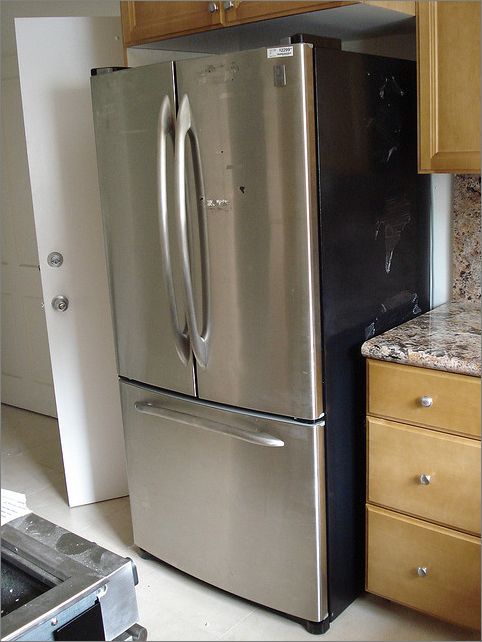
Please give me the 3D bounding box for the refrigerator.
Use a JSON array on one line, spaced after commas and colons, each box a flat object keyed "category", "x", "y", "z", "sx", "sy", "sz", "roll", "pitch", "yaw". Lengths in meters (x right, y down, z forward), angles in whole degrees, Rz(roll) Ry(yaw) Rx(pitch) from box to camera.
[{"category": "refrigerator", "x": 0.006, "y": 0.067, "z": 1.780, "sx": 0.943, "sy": 1.650, "sz": 0.534, "roll": 4, "pitch": 11, "yaw": 19}]
